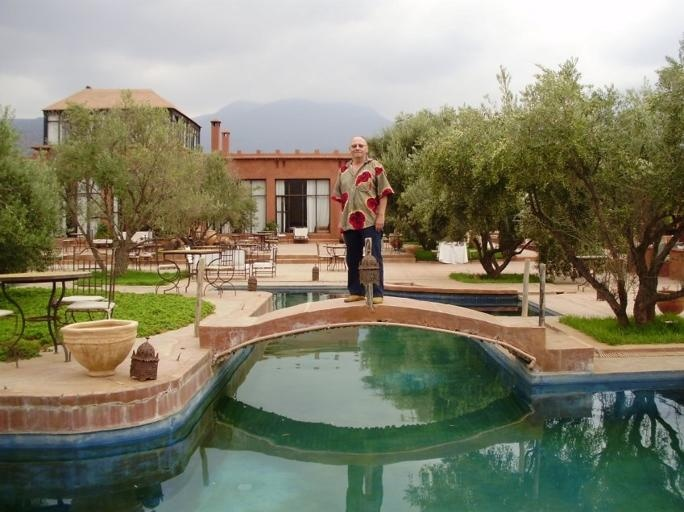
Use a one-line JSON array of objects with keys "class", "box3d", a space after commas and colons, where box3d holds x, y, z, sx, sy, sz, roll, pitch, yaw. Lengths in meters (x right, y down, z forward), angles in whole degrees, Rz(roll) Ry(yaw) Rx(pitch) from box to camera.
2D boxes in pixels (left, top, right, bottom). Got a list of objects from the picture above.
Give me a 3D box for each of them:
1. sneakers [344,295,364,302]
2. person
[{"class": "sneakers", "box3d": [0.187, 0.653, 8.340, 0.275, 0.120, 0.108, 2, -4, -8]}, {"class": "person", "box3d": [0.313, -0.499, 8.172, 0.816, 2.410, 0.813, 0, 10, 0]}]
